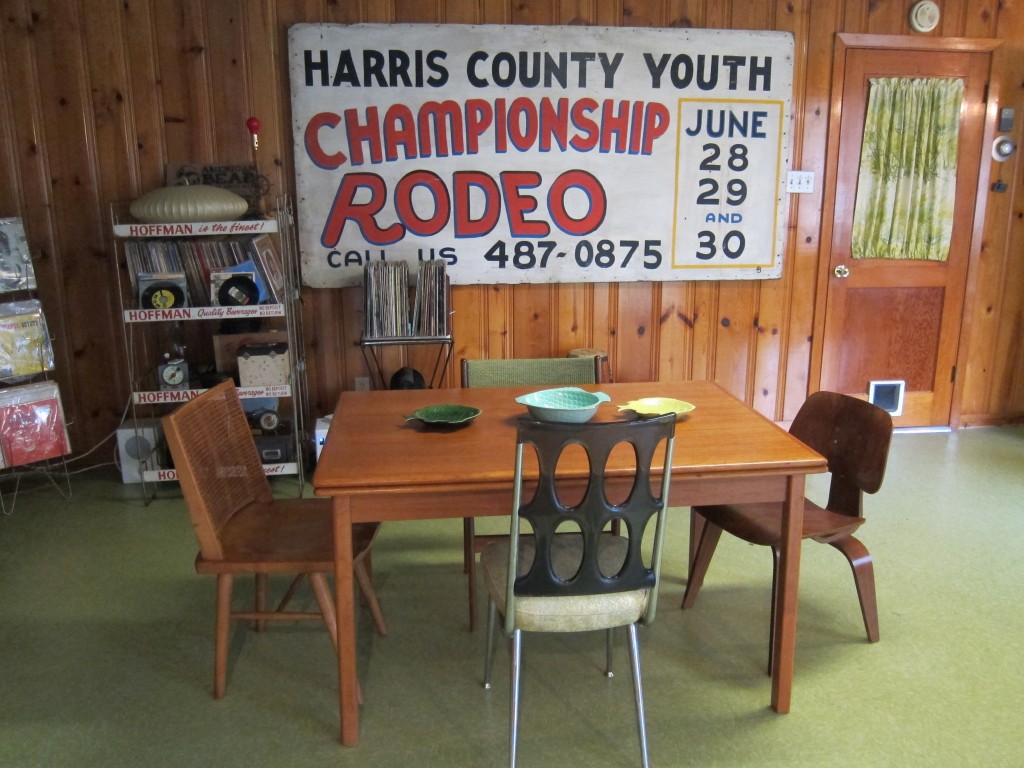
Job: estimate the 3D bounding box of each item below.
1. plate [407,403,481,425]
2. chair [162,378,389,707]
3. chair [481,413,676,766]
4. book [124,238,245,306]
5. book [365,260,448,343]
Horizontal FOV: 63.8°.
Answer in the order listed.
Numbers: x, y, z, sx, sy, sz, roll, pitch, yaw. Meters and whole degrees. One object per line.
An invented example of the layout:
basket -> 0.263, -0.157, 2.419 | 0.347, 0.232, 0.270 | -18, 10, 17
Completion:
plate -> -0.247, 0.117, 3.093 | 0.138, 0.025, 0.120 | -7, 17, -23
chair -> -0.856, 0.555, 3.067 | 0.793, 0.999, 0.785 | -4, 13, -25
chair -> 0.228, 0.608, 2.803 | 0.678, 1.190, 0.641 | -2, 16, -1
book -> -1.703, -0.603, 4.322 | 0.486, 0.168, 0.375 | -2, 3, -25
book -> -0.585, -0.500, 4.643 | 0.441, 0.452, 0.151 | 2, 16, -3
